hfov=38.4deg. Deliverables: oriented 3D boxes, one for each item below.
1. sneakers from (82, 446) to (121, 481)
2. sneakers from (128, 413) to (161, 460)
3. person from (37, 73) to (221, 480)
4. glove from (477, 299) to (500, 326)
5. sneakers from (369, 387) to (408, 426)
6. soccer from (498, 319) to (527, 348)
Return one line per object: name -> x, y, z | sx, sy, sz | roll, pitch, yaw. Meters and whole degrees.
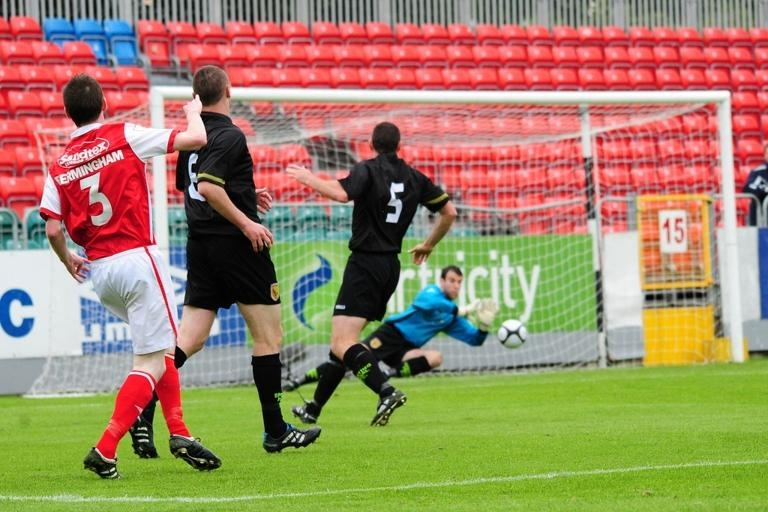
sneakers -> -2.660, 1.992, 10.404 | 0.473, 0.229, 0.166 | 39, -29, -23
sneakers -> -2.340, 1.832, 11.005 | 0.189, 0.521, 0.256 | -17, 23, 5
person -> -2.432, 0.180, 10.478 | 1.554, 3.743, 0.768 | -3, 8, -9
glove -> 1.231, 0.685, 13.336 | 0.226, 0.337, 0.206 | -1, 8, 4
sneakers -> 0.056, 1.630, 11.784 | 0.139, 0.408, 0.211 | 48, -5, -36
soccer -> 1.640, 1.004, 14.019 | 0.347, 0.342, 0.345 | 1, 35, -4
